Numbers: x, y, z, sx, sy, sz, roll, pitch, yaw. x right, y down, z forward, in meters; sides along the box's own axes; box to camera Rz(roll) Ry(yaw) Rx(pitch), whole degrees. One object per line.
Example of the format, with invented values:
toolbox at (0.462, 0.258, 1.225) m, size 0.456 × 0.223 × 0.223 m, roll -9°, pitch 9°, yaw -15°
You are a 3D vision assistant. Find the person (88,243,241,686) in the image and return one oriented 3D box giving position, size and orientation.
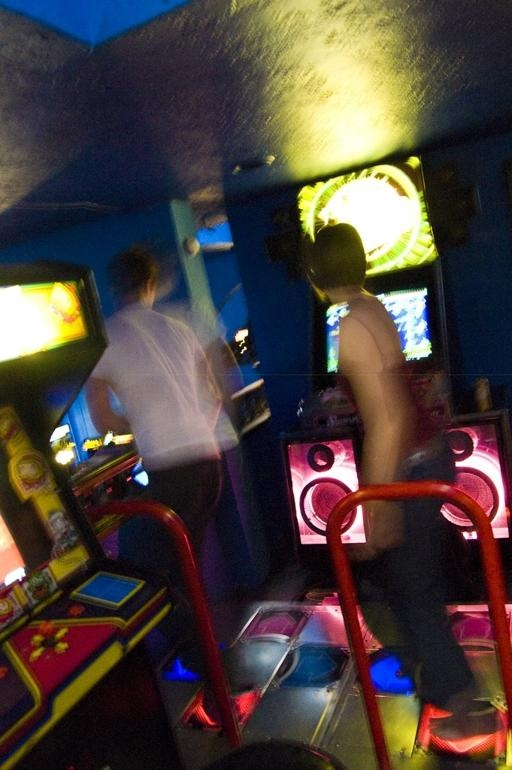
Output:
person at (-0.237, 0.152, 1.788) m, size 0.398 × 1.134 × 0.818 m, roll -14°, pitch 12°, yaw 1°

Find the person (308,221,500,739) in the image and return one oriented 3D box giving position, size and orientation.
person at (0.342, 0.239, 1.352) m, size 0.277 × 1.264 × 0.648 m, roll -13°, pitch 12°, yaw 5°
